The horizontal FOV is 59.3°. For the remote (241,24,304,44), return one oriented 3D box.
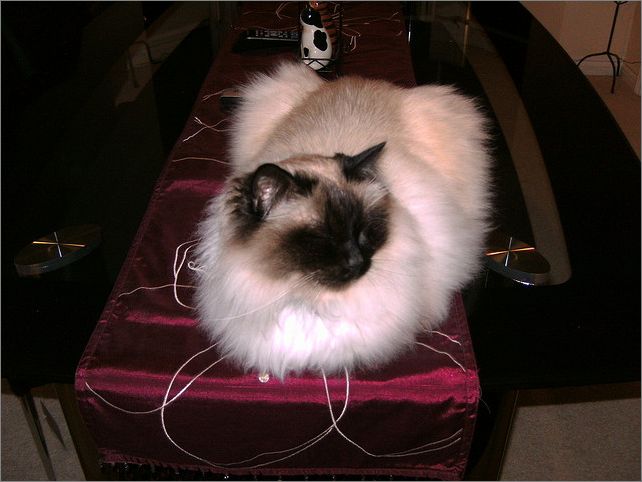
[{"bbox_3d":[-0.188,-0.796,2.171,0.175,0.031,0.100,2,30,2],"label":"remote"}]
